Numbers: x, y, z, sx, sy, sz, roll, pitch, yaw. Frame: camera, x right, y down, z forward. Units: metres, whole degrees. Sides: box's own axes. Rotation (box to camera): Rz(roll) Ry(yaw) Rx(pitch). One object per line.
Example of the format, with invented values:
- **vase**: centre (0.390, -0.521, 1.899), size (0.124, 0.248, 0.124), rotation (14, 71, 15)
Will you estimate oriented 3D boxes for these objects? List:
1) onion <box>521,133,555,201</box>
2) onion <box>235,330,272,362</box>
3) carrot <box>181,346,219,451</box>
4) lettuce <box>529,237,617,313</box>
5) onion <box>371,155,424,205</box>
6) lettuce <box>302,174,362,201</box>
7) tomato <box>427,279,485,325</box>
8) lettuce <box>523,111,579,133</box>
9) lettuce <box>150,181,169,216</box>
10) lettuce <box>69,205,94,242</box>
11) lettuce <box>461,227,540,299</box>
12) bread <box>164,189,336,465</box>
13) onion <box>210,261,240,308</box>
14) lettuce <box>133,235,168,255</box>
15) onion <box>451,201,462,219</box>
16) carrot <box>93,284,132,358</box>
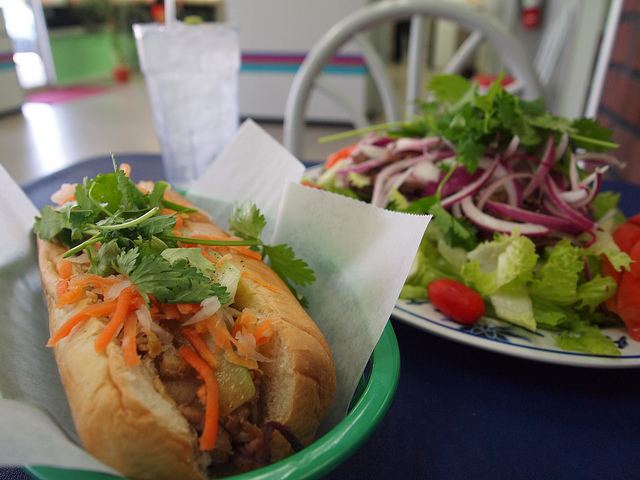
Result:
- **onion**: centre (0.570, -0.191, 1.302), size (0.036, 0.168, 0.043), rotation (21, 16, -7)
- **onion**: centre (-0.115, 0.181, 0.840), size (0.051, 0.042, 0.034), rotation (-4, 33, -4)
- **carrot**: centre (-0.192, 0.260, 0.797), size (0.049, 0.037, 0.153), rotation (23, 25, -33)
- **lettuce**: centre (0.539, 0.077, 1.087), size (0.148, 0.062, 0.159), rotation (24, -14, -34)
- **onion**: centre (0.208, -0.178, 1.401), size (0.113, 0.163, 0.042), rotation (35, 9, 1)
- **lettuce**: centre (0.046, -0.161, 1.449), size (0.094, 0.033, 0.152), rotation (-45, 33, -16)
- **tomato**: centre (0.276, 0.124, 1.013), size (0.062, 0.064, 0.114), rotation (9, 15, -38)
- **lettuce**: centre (0.590, -0.295, 1.279), size (0.139, 0.038, 0.083), rotation (-14, 36, -18)
- **lettuce**: centre (-0.340, -0.082, 1.029), size (0.037, 0.019, 0.139), rotation (-4, -16, -30)
- **lettuce**: centre (-0.449, -0.027, 0.939), size (0.046, 0.063, 0.018), rotation (-12, -8, 11)
- **lettuce**: centre (0.412, 0.054, 1.120), size (0.199, 0.085, 0.185), rotation (-31, 29, -33)
- **bread**: centre (-0.164, 0.186, 1.004), size (0.272, 0.193, 0.566), rotation (-15, 25, -21)
- **onion**: centre (-0.164, 0.077, 0.894), size (0.045, 0.019, 0.073), rotation (-8, 52, 37)
- **lettuce**: centre (-0.300, 0.004, 0.890), size (0.014, 0.032, 0.042), rotation (-5, -13, 41)
- **onion**: centre (0.368, -0.080, 1.348), size (0.028, 0.042, 0.011), rotation (-16, -9, 32)
- **carrot**: centre (-0.330, 0.131, 0.801), size (0.031, 0.020, 0.129), rotation (12, 48, -8)
